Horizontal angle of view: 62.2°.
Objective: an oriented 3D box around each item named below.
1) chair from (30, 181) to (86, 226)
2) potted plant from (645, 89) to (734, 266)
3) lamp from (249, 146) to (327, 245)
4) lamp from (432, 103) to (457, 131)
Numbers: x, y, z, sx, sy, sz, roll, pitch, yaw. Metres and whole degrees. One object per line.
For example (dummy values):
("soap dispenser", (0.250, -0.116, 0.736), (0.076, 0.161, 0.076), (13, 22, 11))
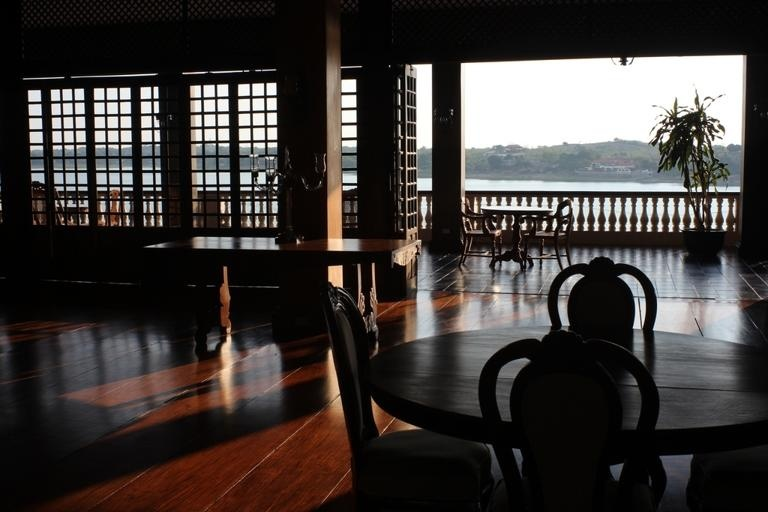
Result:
("chair", (-4.590, -0.740, 8.975), (0.668, 0.651, 1.658), (-5, 12, -26))
("potted plant", (5.212, -1.413, 10.779), (1.206, 2.720, 1.862), (5, 12, 28))
("lamp", (-0.939, -0.592, 6.365), (0.913, 1.017, 0.922), (-5, 9, -43))
("lamp", (1.042, -2.382, 10.824), (0.411, 0.367, 1.200), (1, 11, 5))
